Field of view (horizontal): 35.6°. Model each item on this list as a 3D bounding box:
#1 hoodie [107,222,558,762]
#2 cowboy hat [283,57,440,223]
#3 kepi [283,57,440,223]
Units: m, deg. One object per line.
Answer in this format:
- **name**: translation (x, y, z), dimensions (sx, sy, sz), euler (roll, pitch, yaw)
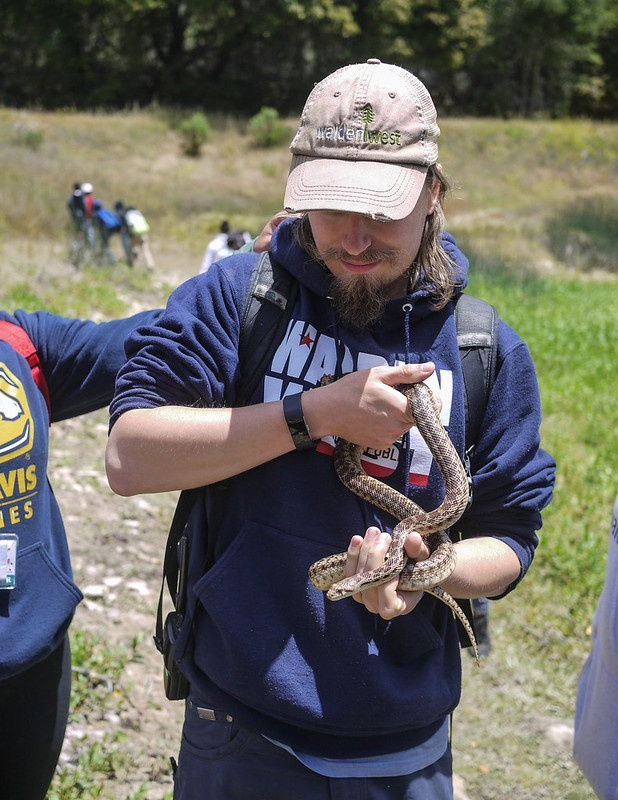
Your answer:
- **hoodie**: translation (0.067, 0.361, 3.168), dimensions (1.177, 1.629, 1.162), euler (-8, 27, -16)
- **cowboy hat**: translation (0.154, -0.767, 2.809), dimensions (0.437, 0.464, 0.333), euler (5, 13, 4)
- **kepi**: translation (0.154, -0.767, 2.809), dimensions (0.437, 0.464, 0.333), euler (5, 13, 4)
